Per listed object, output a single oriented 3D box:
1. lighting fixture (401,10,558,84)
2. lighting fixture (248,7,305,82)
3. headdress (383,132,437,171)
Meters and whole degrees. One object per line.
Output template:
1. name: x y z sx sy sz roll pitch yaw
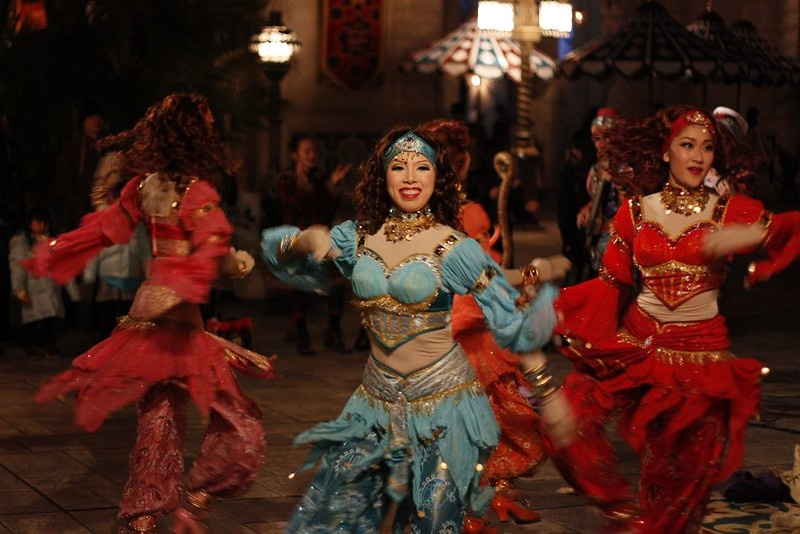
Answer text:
1. lighting fixture: 0.983 -3.105 12.350 2.173 0.781 2.145 17 23 33
2. lighting fixture: -1.893 -3.221 13.525 0.698 0.784 0.516 0 12 -8
3. headdress: 0.055 -0.676 5.111 0.352 0.158 0.268 2 13 0
